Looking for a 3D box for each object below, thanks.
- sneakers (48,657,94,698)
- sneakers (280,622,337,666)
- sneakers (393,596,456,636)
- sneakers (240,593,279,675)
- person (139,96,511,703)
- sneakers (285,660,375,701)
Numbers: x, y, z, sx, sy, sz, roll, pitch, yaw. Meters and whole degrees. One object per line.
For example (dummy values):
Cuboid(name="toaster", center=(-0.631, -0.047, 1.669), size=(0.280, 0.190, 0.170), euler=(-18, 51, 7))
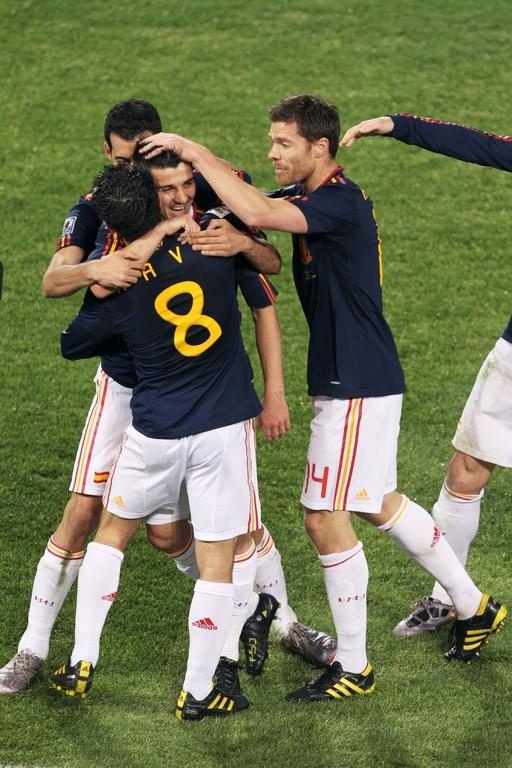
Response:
Cuboid(name="sneakers", center=(-0.627, 0.964, 2.920), size=(0.090, 0.116, 0.237), euler=(13, -10, -27))
Cuboid(name="sneakers", center=(0.211, 0.973, 3.363), size=(0.105, 0.080, 0.242), euler=(-1, 15, -42))
Cuboid(name="sneakers", center=(0.659, 0.910, 3.535), size=(0.309, 0.116, 0.101), euler=(-12, 0, -15))
Cuboid(name="sneakers", center=(0.036, 0.917, 3.296), size=(0.109, 0.274, 0.151), euler=(4, -4, 41))
Cuboid(name="person", center=(0.293, 0.096, 3.099), size=(0.855, 1.919, 1.214), euler=(-14, 36, -11))
Cuboid(name="sneakers", center=(0.275, 1.035, 3.103), size=(0.359, 0.129, 0.113), euler=(-3, -10, -4))
